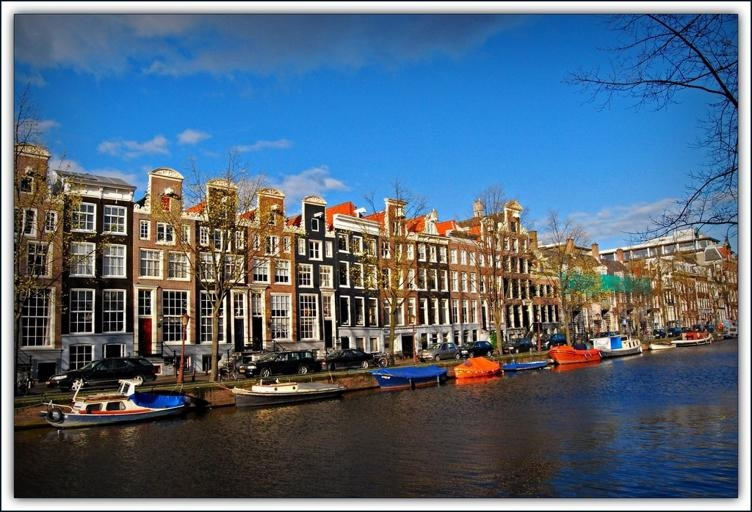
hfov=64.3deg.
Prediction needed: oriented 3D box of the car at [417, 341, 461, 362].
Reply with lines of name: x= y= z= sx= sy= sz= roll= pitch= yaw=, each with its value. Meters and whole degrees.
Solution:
car: x=5.896 y=8.985 z=55.468 sx=4.105 sy=1.559 sz=1.970 roll=4 pitch=-13 yaw=-35

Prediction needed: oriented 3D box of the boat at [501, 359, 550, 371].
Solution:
boat: x=13.558 y=10.164 z=54.308 sx=6.492 sy=0.721 sz=1.003 roll=5 pitch=-14 yaw=-40

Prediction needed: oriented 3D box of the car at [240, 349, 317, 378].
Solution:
car: x=-6.930 y=7.764 z=42.851 sx=4.495 sy=1.406 sz=1.989 roll=8 pitch=-14 yaw=-38

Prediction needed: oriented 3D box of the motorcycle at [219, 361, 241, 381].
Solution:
motorcycle: x=-10.423 y=8.174 z=41.793 sx=0.891 sy=1.056 sz=1.801 roll=-18 pitch=-21 yaw=23

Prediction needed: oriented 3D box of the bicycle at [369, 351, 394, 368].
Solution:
bicycle: x=0.600 y=8.689 z=49.712 sx=1.013 sy=0.883 sz=1.549 roll=-6 pitch=-14 yaw=24

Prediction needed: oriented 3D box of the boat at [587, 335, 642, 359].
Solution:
boat: x=28.348 y=10.707 z=70.224 sx=6.015 sy=1.910 sz=3.307 roll=9 pitch=-14 yaw=-42

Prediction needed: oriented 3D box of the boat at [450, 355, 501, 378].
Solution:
boat: x=8.210 y=9.148 z=48.772 sx=3.396 sy=1.185 sz=1.845 roll=2 pitch=-6 yaw=-33

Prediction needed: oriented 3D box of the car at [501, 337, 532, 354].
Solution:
car: x=15.180 y=9.755 z=64.272 sx=1.662 sy=1.528 sz=4.092 roll=-11 pitch=-13 yaw=36

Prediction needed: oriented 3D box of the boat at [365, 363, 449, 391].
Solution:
boat: x=2.478 y=8.920 z=43.552 sx=5.326 sy=1.378 sz=2.042 roll=9 pitch=-15 yaw=-34

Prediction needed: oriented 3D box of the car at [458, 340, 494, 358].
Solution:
car: x=9.423 y=9.003 z=57.219 sx=3.412 sy=1.158 sz=1.509 roll=9 pitch=-16 yaw=-38

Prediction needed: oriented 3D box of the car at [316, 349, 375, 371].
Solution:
car: x=-2.215 y=8.234 z=47.398 sx=1.745 sy=1.568 sz=5.196 roll=-12 pitch=-13 yaw=38

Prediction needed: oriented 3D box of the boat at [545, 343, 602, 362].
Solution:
boat: x=19.849 y=10.000 z=60.858 sx=2.452 sy=1.701 sz=5.957 roll=-15 pitch=-21 yaw=42

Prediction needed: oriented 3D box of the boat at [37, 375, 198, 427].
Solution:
boat: x=-14.158 y=7.951 z=32.498 sx=6.432 sy=2.152 sz=2.532 roll=6 pitch=-7 yaw=-37

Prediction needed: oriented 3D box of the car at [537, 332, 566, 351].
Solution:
car: x=21.044 y=10.056 z=69.882 sx=3.685 sy=1.750 sz=1.990 roll=2 pitch=-11 yaw=-23

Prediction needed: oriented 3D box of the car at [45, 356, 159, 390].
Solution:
car: x=-16.847 y=7.233 z=36.812 sx=5.870 sy=1.744 sz=2.248 roll=7 pitch=-14 yaw=-34
